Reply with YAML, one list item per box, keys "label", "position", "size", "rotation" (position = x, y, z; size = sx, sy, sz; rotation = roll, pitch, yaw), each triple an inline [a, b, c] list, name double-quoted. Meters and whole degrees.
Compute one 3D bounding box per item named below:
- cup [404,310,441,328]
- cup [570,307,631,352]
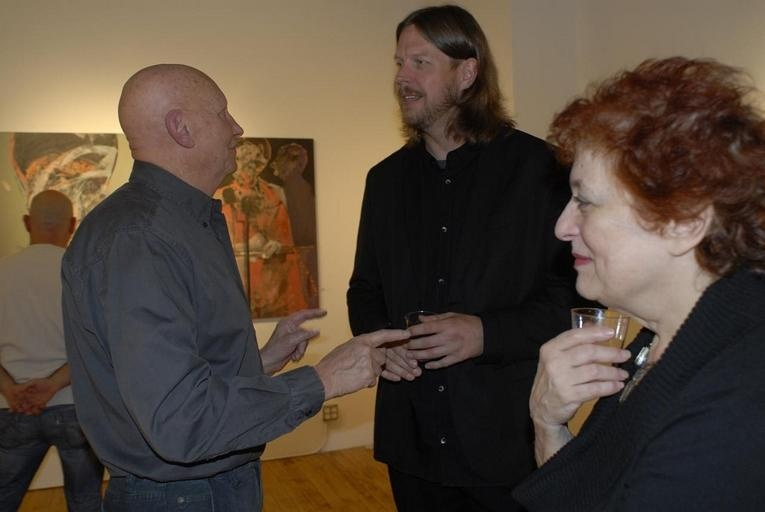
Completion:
- label: "cup"
  position: [0.146, 0.262, 2.723]
  size: [0.089, 0.062, 0.082]
  rotation: [0, -13, 0]
- label: "cup"
  position: [0.706, 0.234, 2.093]
  size: [0.158, 0.115, 0.136]
  rotation: [3, -4, 9]
